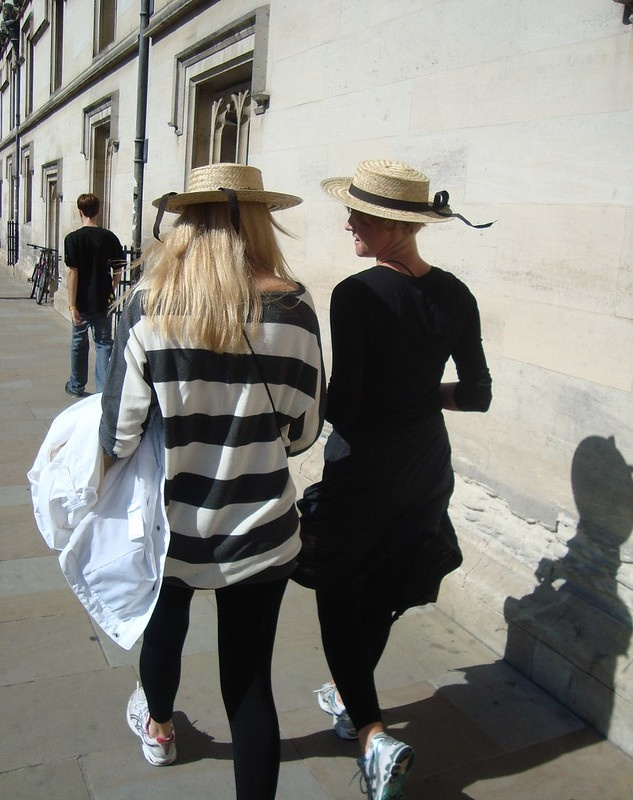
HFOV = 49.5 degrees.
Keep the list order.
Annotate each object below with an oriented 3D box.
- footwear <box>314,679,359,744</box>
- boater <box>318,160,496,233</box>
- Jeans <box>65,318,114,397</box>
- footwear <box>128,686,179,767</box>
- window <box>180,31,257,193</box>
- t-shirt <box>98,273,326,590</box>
[{"bbox_3d":[0.073,0.950,2.186,0.110,0.119,0.273,-7,15,-14],"label":"footwear"},{"bbox_3d":[0.224,-0.540,1.760,0.437,0.111,0.382,23,28,31],"label":"boater"},{"bbox_3d":[-2.056,-0.437,6.235,0.399,0.303,1.098,-5,52,-16],"label":"Jeans"},{"bbox_3d":[-0.488,0.911,1.990,0.108,0.118,0.272,-1,24,-21],"label":"footwear"},{"bbox_3d":[-0.897,-2.812,6.835,0.840,1.085,0.292,3,5,28],"label":"window"},{"bbox_3d":[-0.211,0.080,1.456,0.469,0.657,0.221,2,7,-17],"label":"t-shirt"}]
